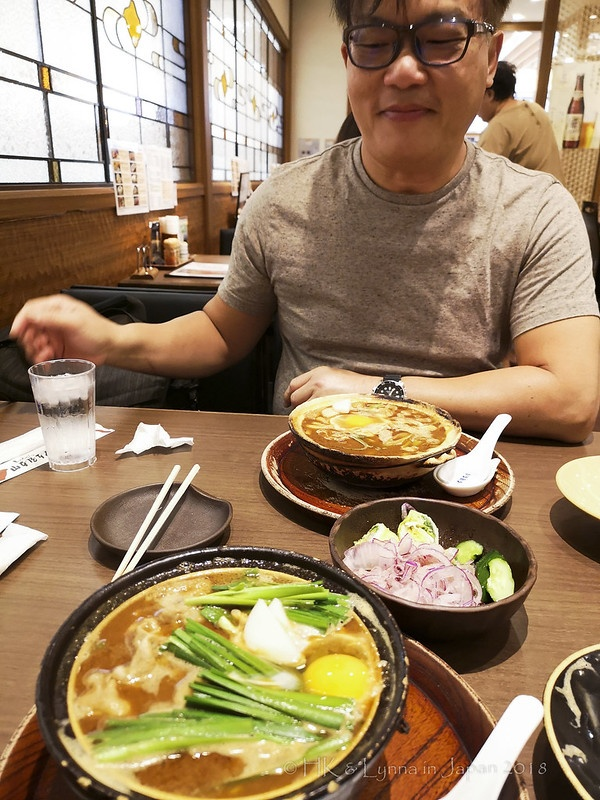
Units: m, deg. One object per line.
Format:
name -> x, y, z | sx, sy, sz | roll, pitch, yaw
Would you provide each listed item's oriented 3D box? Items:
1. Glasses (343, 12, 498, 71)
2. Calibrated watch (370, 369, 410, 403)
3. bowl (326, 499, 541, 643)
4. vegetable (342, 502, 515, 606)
Glasses -> 0.273, -0.872, 1.478 | 0.299, 0.107, 0.080 | 2, 22, 10
Calibrated watch -> 0.225, -0.033, 1.536 | 0.068, 0.091, 0.074 | 7, 5, 3
bowl -> 0.198, 0.230, 0.832 | 0.211, 0.077, 0.194 | 2, 25, -1
vegetable -> 0.187, 0.227, 0.851 | 0.131, 0.042, 0.132 | 7, 14, 4
